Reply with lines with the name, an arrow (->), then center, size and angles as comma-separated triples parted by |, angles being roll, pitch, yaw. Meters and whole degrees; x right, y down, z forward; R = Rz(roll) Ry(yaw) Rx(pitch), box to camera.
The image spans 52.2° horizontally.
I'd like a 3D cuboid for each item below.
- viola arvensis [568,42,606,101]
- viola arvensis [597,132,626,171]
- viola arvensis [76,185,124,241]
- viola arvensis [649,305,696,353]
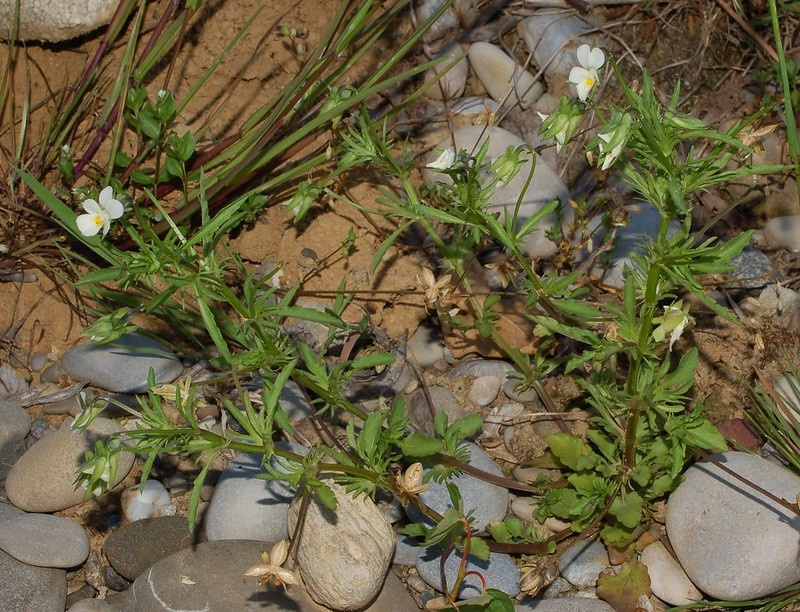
viola arvensis -> 0.693, -0.862, 3.006 | 0.093, 0.161, 0.268 | 16, 74, -59
viola arvensis -> 0.715, -0.536, 2.783 | 0.094, 0.045, 0.130 | 42, 52, -28
viola arvensis -> -1.101, -0.371, 3.022 | 0.166, 0.078, 0.206 | -26, 111, -6
viola arvensis -> 0.989, 0.071, 2.939 | 0.076, 0.169, 0.192 | 2, 87, -20
